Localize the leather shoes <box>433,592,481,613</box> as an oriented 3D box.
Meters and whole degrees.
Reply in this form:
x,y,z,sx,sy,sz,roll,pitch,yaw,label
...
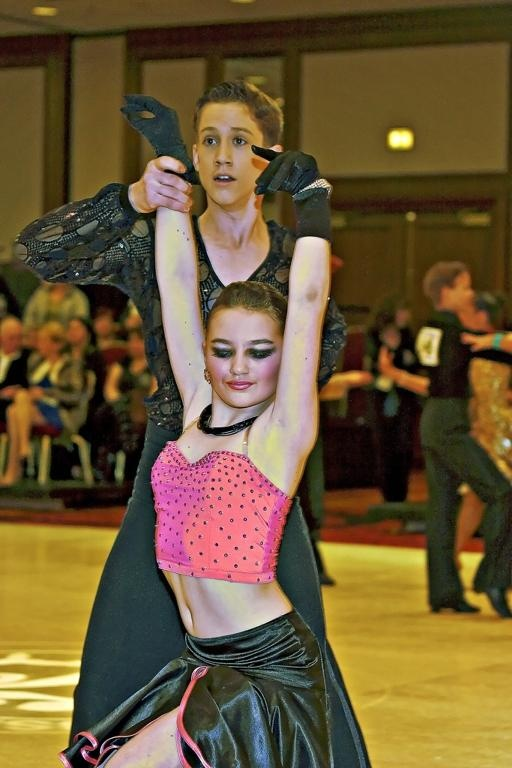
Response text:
x,y,z,sx,sy,sz,roll,pitch,yaw,label
0.926,1.033,3.778,0.251,0.082,0.091,0,0,-6,leather shoes

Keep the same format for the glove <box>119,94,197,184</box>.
x,y,z,sx,sy,sz,roll,pitch,yaw,label
-0.188,-0.494,1.591,0.150,0.215,0.226,0,0,-2,glove

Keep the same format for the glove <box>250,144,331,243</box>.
x,y,z,sx,sy,sz,roll,pitch,yaw,label
0.062,-0.317,1.352,0.112,0.165,0.120,1,1,36,glove
